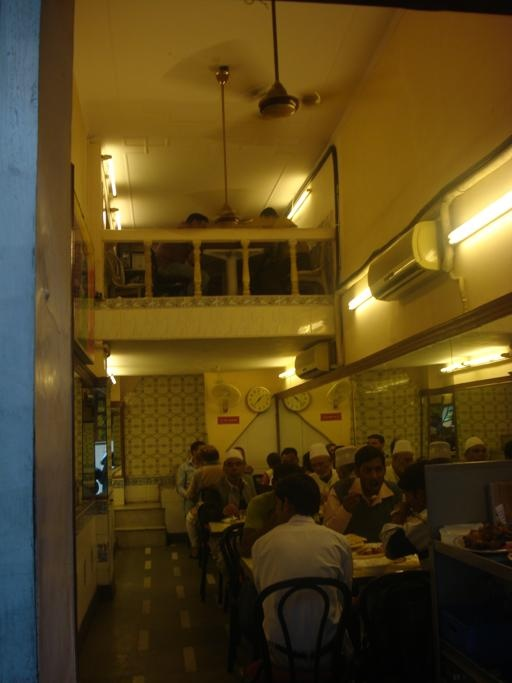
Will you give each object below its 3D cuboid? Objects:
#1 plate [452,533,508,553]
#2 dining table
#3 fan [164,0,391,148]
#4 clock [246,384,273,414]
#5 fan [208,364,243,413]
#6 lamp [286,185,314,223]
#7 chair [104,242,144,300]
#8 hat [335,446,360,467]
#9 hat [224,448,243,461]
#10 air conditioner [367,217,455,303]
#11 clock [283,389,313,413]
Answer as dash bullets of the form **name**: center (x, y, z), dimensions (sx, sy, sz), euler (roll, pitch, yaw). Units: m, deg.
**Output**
- **plate**: center (0.744, 0.666, 1.866), dimensions (0.170, 0.050, 0.106), euler (-6, -9, 21)
- **dining table**: center (0.305, 1.116, 2.719), dimensions (0.809, 1.198, 0.836), euler (-3, -2, 2)
- **fan**: center (0.243, -2.036, 4.102), dimensions (1.109, 0.320, 1.268), euler (-7, -10, 30)
- **clock**: center (0.027, 0.723, 6.901), dimensions (0.406, 0.351, 0.159), euler (-8, -10, 37)
- **fan**: center (-0.379, 0.663, 7.491), dimensions (0.131, 0.522, 0.480), euler (1, 10, -43)
- **lamp**: center (0.487, -1.495, 6.163), dimensions (0.166, 0.119, 0.684), euler (-42, -5, -10)
- **chair**: center (-1.256, -0.653, 5.408), dimensions (0.404, 0.648, 0.621), euler (-2, 5, -4)
- **hat**: center (0.610, 0.783, 3.868), dimensions (0.126, 0.110, 0.139), euler (0, -7, 0)
- **hat**: center (-0.206, 1.058, 5.303), dimensions (0.096, 0.093, 0.120), euler (-1, 2, 1)
- **air conditioner**: center (0.730, -0.412, 3.140), dimensions (0.601, 0.232, 0.151), euler (-32, 0, -37)
- **clock**: center (0.453, 0.634, 5.992), dimensions (0.030, 0.252, 0.249), euler (12, -34, -34)
